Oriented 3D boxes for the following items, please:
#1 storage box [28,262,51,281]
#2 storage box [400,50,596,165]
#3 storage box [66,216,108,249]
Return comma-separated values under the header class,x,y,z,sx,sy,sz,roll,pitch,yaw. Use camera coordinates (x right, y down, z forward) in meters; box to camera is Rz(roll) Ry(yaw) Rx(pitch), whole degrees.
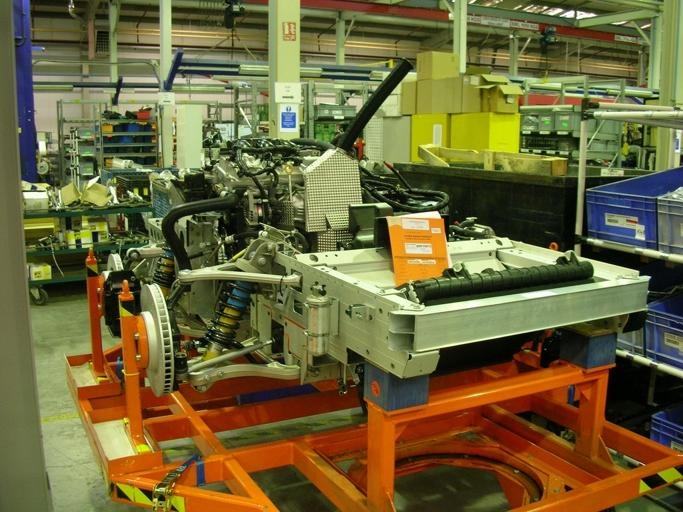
class,x,y,z,sx,sy,sz,roll,pitch,yaw
storage box,-3.286,0.181,6.594,0.145,0.101,0.253,-2,8,-42
storage box,1.431,-1.808,7.213,0.750,1.330,1.618,-7,12,-17
storage box,-2.964,-0.277,7.025,0.550,0.288,0.470,-5,16,-30
